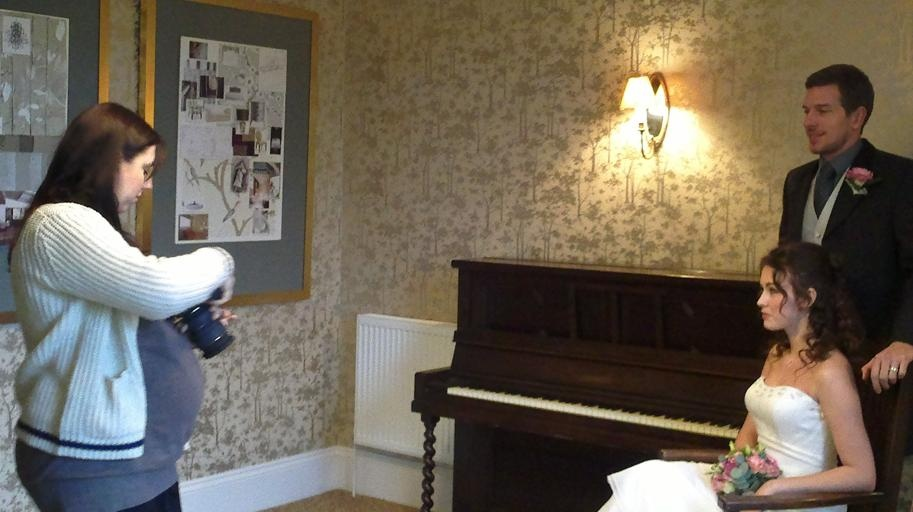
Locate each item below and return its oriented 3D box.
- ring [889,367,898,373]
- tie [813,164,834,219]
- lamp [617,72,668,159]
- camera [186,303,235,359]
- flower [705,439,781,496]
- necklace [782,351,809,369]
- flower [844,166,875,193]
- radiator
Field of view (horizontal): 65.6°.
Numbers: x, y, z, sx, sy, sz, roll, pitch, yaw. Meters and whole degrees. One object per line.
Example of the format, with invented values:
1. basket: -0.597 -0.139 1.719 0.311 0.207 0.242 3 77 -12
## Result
1. ring: 1.971 0.515 3.187 0.028 0.018 0.030 5 0 0
2. tie: 1.919 -0.345 3.704 0.082 0.262 0.041 18 11 42
3. lamp: 1.161 -0.871 4.361 0.304 0.533 0.169 5 9 12
4. camera: -1.062 0.352 2.946 0.158 0.199 0.167 17 3 -42
5. flower: 1.278 0.968 3.185 0.248 0.244 0.119 29 -17 46
6. necklace: 1.615 0.491 3.352 0.018 0.073 0.076 9 18 -30
7. flower: 2.033 -0.385 3.576 0.140 0.130 0.133 7 -1 -36
8. radiator: -0.335 0.916 4.802 1.273 1.086 0.137 1 0 32
